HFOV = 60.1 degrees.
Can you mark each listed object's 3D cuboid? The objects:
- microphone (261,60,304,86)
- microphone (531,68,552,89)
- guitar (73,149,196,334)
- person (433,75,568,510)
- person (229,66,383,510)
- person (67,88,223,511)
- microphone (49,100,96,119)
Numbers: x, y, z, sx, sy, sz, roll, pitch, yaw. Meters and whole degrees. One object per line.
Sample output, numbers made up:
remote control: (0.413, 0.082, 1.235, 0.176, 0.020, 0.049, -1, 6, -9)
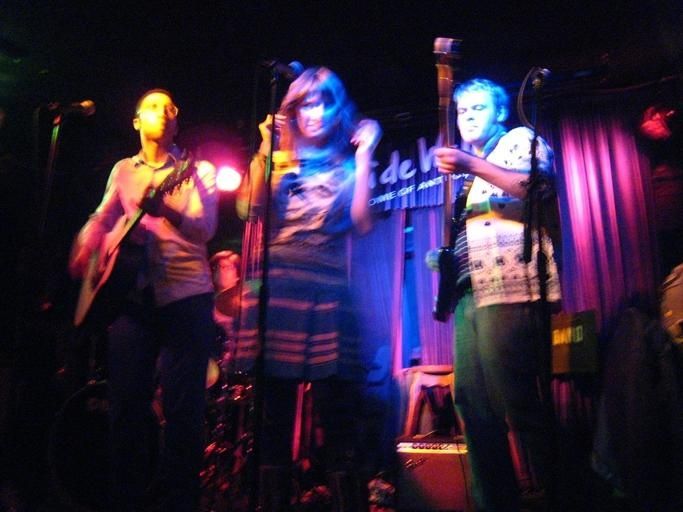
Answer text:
microphone: (-0.378, -1.188, 3.795, 0.090, 0.132, 0.223, 41, 25, 29)
microphone: (1.171, -1.032, 3.448, 0.129, 0.136, 0.079, 4, -31, 28)
guitar: (-1.514, -0.062, 4.382, 0.244, 1.788, 0.661, 24, 13, -31)
person: (0.971, 0.136, 3.542, 0.710, 2.633, 0.486, -3, -14, 10)
person: (-0.207, 0.098, 3.828, 0.911, 2.953, 0.750, 3, -14, -15)
person: (-1.396, 0.201, 4.345, 0.913, 3.092, 0.393, 2, -14, -13)
microphone: (-2.152, -1.168, 4.717, 0.331, 0.112, 0.204, -4, 8, -23)
